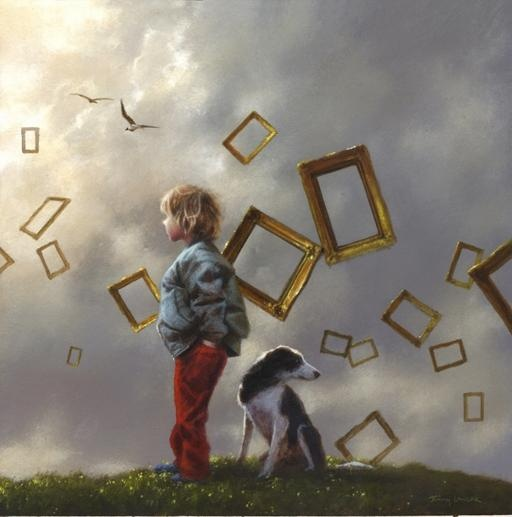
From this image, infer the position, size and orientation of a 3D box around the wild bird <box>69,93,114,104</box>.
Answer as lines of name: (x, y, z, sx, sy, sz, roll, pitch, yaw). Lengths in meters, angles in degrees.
wild bird: (-1.026, -1.011, 7.317, 0.176, 0.030, 0.065, 7, 103, -1)

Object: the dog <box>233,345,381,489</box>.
dog: (0.147, 0.934, 7.126, 0.483, 0.288, 0.773, -8, 68, 20)
